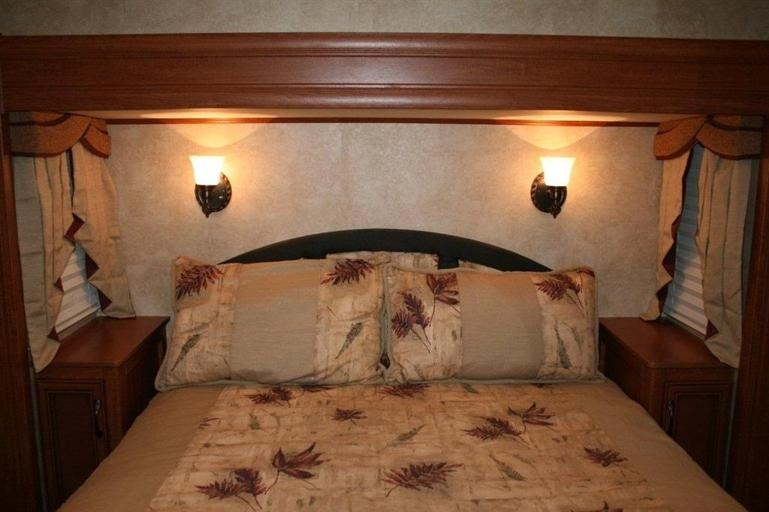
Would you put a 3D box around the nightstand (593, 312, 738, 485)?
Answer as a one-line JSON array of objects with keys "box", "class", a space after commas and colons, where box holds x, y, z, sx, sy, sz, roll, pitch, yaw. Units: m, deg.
[{"box": [1.385, 0.753, 3.578, 0.802, 0.603, 0.926, -1, -70, 0], "class": "nightstand"}]

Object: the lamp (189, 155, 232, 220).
[{"box": [-1.014, -0.419, 3.636, 0.233, 0.213, 0.342, -1, -44, -4], "class": "lamp"}]
